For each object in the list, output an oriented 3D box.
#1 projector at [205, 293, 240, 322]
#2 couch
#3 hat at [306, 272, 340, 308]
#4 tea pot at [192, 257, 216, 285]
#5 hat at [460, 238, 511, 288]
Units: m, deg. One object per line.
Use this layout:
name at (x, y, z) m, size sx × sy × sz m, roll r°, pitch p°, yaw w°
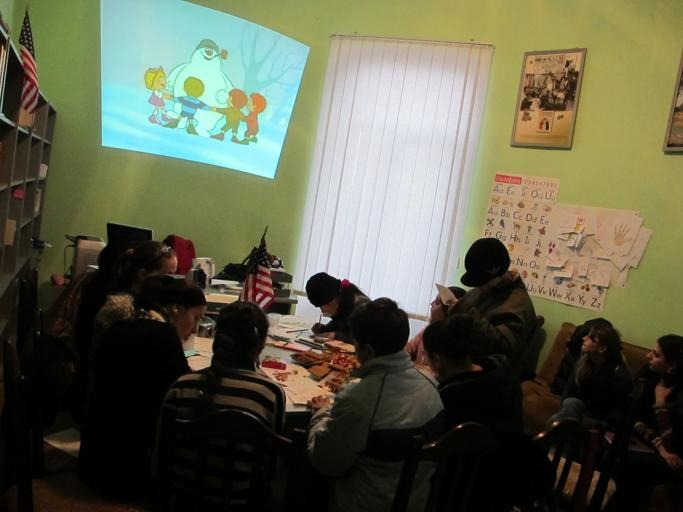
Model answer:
projector at (-0.975, 0.375, 3.915) m, size 0.306 × 0.089 × 0.352 m, roll 1°, pitch 5°, yaw -5°
couch at (1.853, 1.027, 4.006) m, size 0.830 × 0.874 × 0.796 m, roll 24°, pitch -11°, yaw -35°
hat at (-0.168, 0.243, 3.523) m, size 0.189 × 0.228 × 0.255 m, roll -6°, pitch -3°, yaw 32°
tea pot at (-1.305, 0.131, 4.521) m, size 0.253 × 0.286 × 0.159 m, roll 2°, pitch 0°, yaw -1°
hat at (0.873, 0.048, 3.083) m, size 0.198 × 0.318 × 0.251 m, roll 43°, pitch 26°, yaw -41°
